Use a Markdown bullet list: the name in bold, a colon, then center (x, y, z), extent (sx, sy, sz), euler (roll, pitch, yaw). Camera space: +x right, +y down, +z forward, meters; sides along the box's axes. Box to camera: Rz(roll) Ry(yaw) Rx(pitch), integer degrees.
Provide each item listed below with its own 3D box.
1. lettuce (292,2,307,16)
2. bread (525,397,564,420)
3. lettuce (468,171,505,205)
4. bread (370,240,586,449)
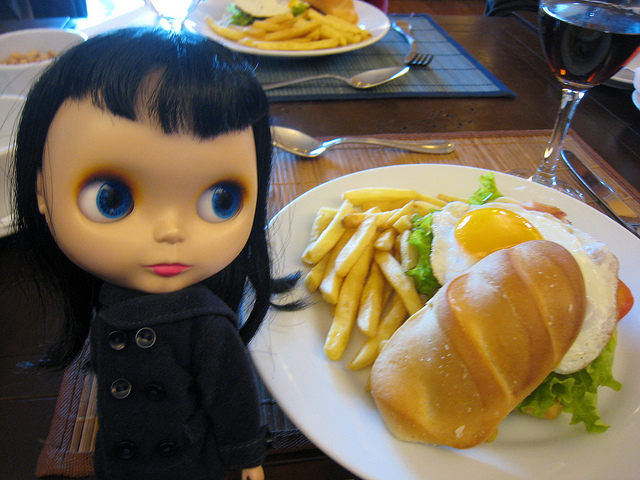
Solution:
- **lettuce**: center (-0.103, -1.074, 2.449), extent (0.062, 0.018, 0.060), euler (11, 63, 10)
- **bread**: center (0.542, 0.405, 1.270), extent (0.086, 0.065, 0.051), euler (1, 83, 32)
- **lettuce**: center (0.509, -0.152, 1.582), extent (0.086, 0.053, 0.140), euler (18, 49, 16)
- **bread**: center (0.432, 0.269, 1.316), extent (0.616, 0.194, 0.308), euler (-37, 57, -12)
